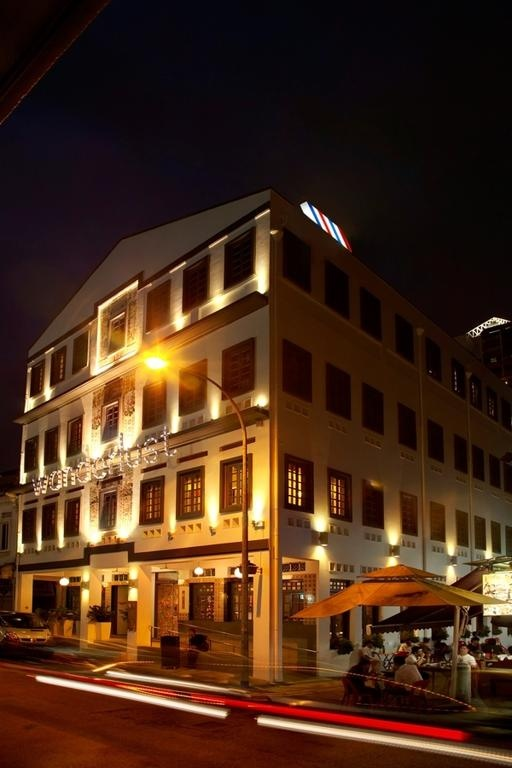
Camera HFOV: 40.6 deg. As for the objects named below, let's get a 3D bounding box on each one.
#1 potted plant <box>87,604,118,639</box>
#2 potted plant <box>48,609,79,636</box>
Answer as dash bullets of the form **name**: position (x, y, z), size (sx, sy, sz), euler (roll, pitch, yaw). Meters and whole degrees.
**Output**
- **potted plant**: position (-8.025, 12.147, 35.498), size (1.506, 2.059, 1.639), euler (9, -21, -26)
- **potted plant**: position (-11.147, 13.619, 39.444), size (1.417, 1.423, 1.871), euler (-2, -18, 3)
